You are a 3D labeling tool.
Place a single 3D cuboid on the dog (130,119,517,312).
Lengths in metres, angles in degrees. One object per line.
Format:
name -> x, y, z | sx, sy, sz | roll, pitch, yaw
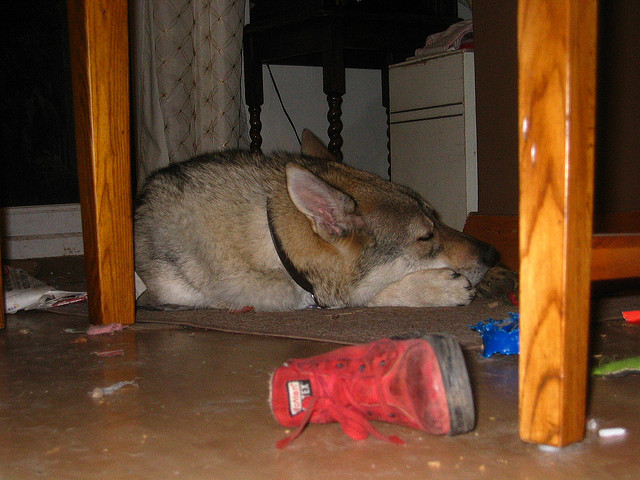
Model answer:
dog -> -0.085, -0.035, 2.632 | 1.301, 0.569, 0.843 | 5, 14, 3
